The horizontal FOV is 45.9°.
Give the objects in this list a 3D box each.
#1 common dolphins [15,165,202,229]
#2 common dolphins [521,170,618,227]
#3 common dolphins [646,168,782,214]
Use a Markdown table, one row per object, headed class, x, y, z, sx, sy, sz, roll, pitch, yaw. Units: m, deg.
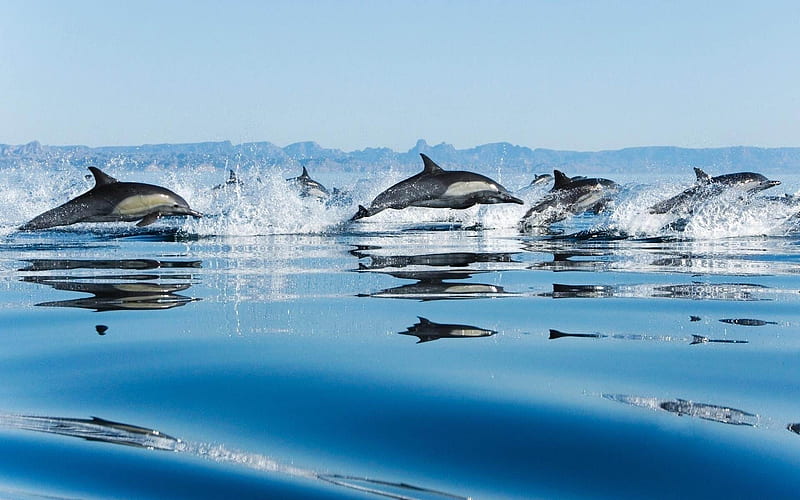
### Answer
| class | x | y | z | sx | sy | sz | roll | pitch | yaw |
| --- | --- | --- | --- | --- | --- | --- | --- | --- | --- |
| common dolphins | -6.512 | -1.157 | 20.383 | 4.096 | 1.381 | 1.163 | -3 | 5 | -1 |
| common dolphins | 4.540 | -1.323 | 25.267 | 2.420 | 1.542 | 0.848 | 1 | 13 | 7 |
| common dolphins | 7.464 | -1.358 | 23.839 | 3.704 | 1.184 | 1.087 | -1 | 34 | 33 |
